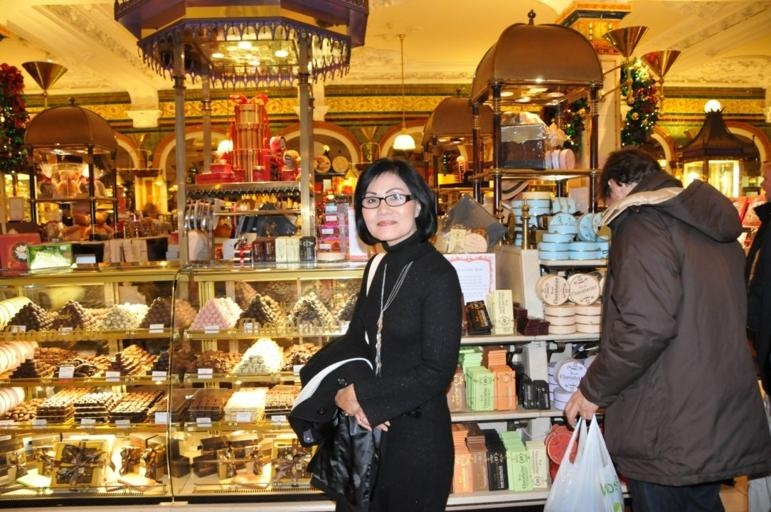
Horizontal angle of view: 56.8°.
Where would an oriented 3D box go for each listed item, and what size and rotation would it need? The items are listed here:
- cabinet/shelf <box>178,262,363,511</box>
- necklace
[{"bbox_3d":[-0.997,1.068,6.056,2.126,1.929,1.124,2,6,-2],"label":"cabinet/shelf"},{"bbox_3d":[0.028,0.449,5.193,0.256,0.811,0.039,5,-15,19],"label":"necklace"}]
